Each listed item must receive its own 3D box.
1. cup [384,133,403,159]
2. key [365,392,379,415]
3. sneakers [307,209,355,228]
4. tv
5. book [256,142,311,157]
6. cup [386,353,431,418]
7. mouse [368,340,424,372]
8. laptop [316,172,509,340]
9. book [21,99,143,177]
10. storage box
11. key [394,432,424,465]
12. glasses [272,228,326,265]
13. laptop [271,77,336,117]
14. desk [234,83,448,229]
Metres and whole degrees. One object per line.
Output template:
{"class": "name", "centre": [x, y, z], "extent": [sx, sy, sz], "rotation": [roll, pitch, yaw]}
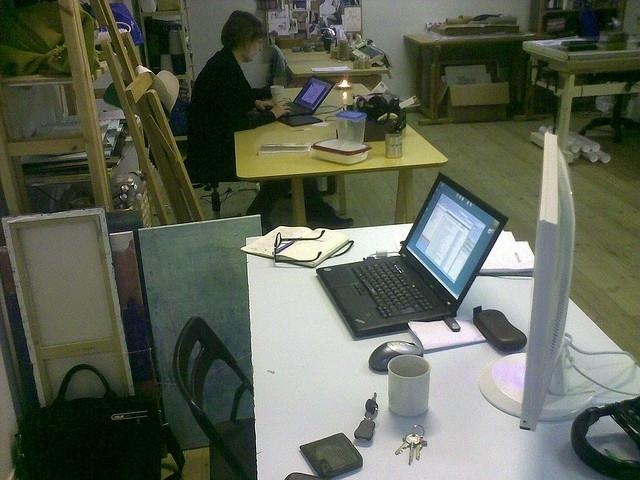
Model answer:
{"class": "cup", "centre": [0.419, -0.557, 2.946], "extent": [0.100, 0.141, 0.171], "rotation": [-2, 24, 8]}
{"class": "key", "centre": [0.133, 0.417, 1.318], "extent": [0.025, 0.024, 0.046], "rotation": [4, 60, 0]}
{"class": "sneakers", "centre": [0.071, -0.158, 4.000], "extent": [0.390, 0.174, 0.137], "rotation": [-2, 21, -3]}
{"class": "tv", "centre": [0.525, 0.114, 1.239], "extent": [0.329, 0.650, 0.238], "rotation": [-18, 26, -29]}
{"class": "book", "centre": [-0.202, -0.534, 2.986], "extent": [0.299, 0.058, 0.111], "rotation": [-6, 24, -1]}
{"class": "cup", "centre": [0.222, 0.374, 1.371], "extent": [0.116, 0.135, 0.138], "rotation": [0, 28, 6]}
{"class": "mouse", "centre": [0.222, 0.319, 1.476], "extent": [0.170, 0.067, 0.096], "rotation": [-6, 17, -9]}
{"class": "laptop", "centre": [0.271, 0.015, 1.661], "extent": [0.464, 0.342, 0.464], "rotation": [-6, 22, -10]}
{"class": "book", "centre": [-1.245, -0.530, 2.700], "extent": [0.440, 0.106, 0.456], "rotation": [-7, 35, -9]}
{"class": "storage box", "centre": [1.957, -1.709, 6.425], "extent": [0.588, 0.413, 0.646], "rotation": [-4, 18, -4]}
{"class": "key", "centre": [0.217, 0.491, 1.232], "extent": [0.058, 0.022, 0.083], "rotation": [12, 29, 34]}
{"class": "glasses", "centre": [-0.097, 0.024, 1.981], "extent": [0.122, 0.047, 0.129], "rotation": [-4, 31, 0]}
{"class": "laptop", "centre": [-0.127, -1.030, 3.797], "extent": [0.372, 0.238, 0.368], "rotation": [-4, 31, -27]}
{"class": "desk", "centre": [-0.008, -0.452, 3.270], "extent": [0.736, 0.627, 1.016], "rotation": [-6, 44, -8]}
